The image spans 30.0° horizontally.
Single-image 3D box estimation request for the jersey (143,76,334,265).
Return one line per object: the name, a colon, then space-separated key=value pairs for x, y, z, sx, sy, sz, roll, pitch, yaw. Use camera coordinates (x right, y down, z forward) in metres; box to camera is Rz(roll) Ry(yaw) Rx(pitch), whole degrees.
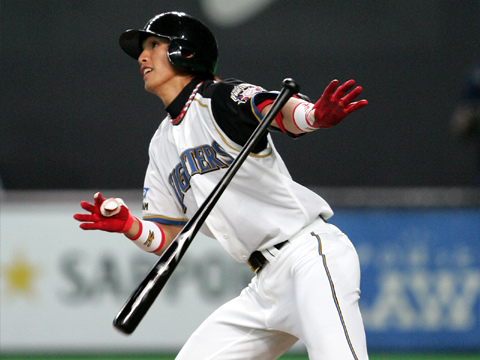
jersey: x=-0.025 y=-0.036 z=7.078 sx=1.001 sy=1.218 sz=1.352 roll=-31 pitch=4 yaw=-42
